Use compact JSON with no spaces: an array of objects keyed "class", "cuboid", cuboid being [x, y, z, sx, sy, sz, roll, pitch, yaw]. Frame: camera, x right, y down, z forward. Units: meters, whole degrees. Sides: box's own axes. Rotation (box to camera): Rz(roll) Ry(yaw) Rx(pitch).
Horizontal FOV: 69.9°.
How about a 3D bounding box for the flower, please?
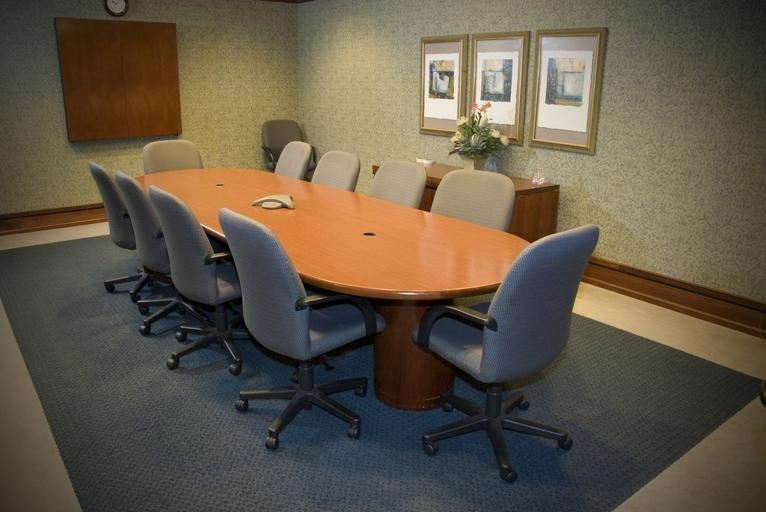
[{"class":"flower","cuboid":[0.943,-1.317,5.842,0.640,0.693,0.634,-1,6,-14]}]
